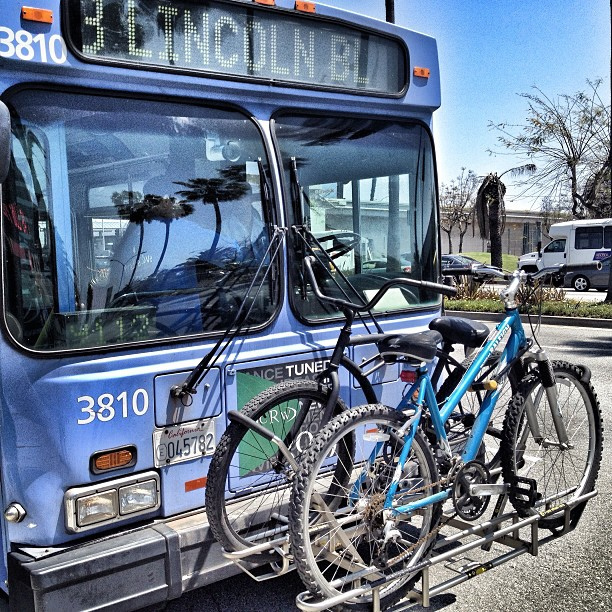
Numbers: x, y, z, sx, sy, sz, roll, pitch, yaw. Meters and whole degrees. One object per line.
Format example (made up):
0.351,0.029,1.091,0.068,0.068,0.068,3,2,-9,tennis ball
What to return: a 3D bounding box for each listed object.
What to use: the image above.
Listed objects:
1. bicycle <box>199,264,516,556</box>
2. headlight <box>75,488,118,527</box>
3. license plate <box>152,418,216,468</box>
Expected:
0.201,0.435,3.693,1.966,1.223,1.111,-5,2,-41,bicycle
-0.932,0.884,2.912,0.177,0.132,0.039,-5,2,-44,headlight
-0.588,0.662,3.218,0.351,0.191,0.020,-6,8,-39,license plate
